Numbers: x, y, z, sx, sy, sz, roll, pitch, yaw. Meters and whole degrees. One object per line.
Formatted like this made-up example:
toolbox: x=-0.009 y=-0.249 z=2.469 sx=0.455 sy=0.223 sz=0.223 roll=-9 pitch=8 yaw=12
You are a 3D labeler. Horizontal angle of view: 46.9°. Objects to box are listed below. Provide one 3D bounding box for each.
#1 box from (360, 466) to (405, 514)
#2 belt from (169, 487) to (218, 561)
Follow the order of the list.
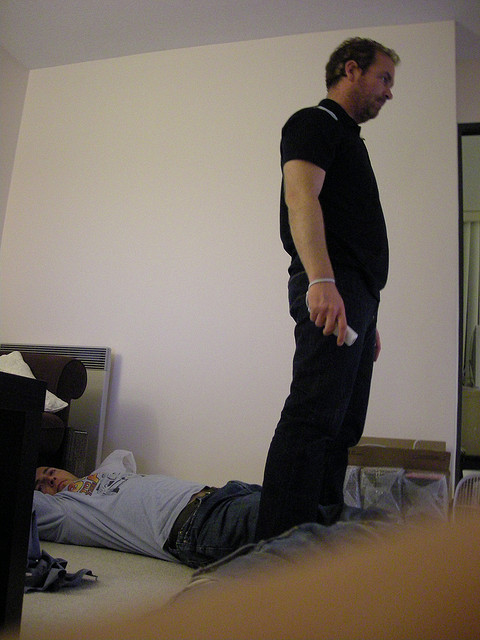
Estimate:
box: x=0.435 y=0.466 z=1.685 sx=0.130 sy=0.141 sz=0.194 roll=0 pitch=-55 yaw=16
belt: x=-0.114 y=0.519 z=1.424 sx=0.092 sy=0.127 sz=0.037 roll=-10 pitch=-52 yaw=45
